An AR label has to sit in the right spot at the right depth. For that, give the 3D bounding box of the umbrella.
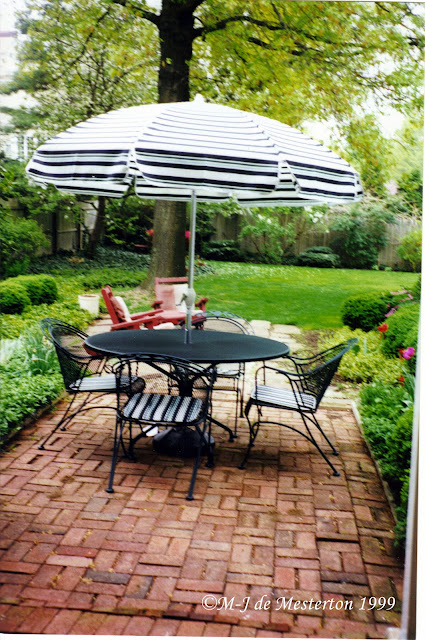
[{"bbox_3d":[-0.145,-0.707,3.295,1.980,1.315,1.964,-3,11,-10],"label":"umbrella"}]
